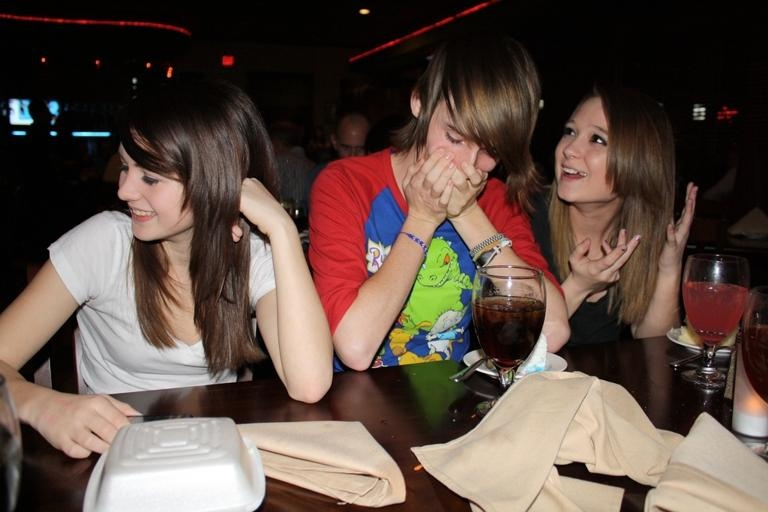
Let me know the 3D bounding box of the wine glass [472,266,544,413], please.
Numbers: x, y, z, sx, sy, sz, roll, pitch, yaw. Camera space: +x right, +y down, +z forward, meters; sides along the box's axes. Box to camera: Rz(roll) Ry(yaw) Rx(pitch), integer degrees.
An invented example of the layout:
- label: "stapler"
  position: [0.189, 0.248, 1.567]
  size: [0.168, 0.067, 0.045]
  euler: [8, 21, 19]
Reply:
- label: "wine glass"
  position: [0.305, 0.201, 1.301]
  size: [0.168, 0.354, 0.231]
  euler: [1, 10, 14]
